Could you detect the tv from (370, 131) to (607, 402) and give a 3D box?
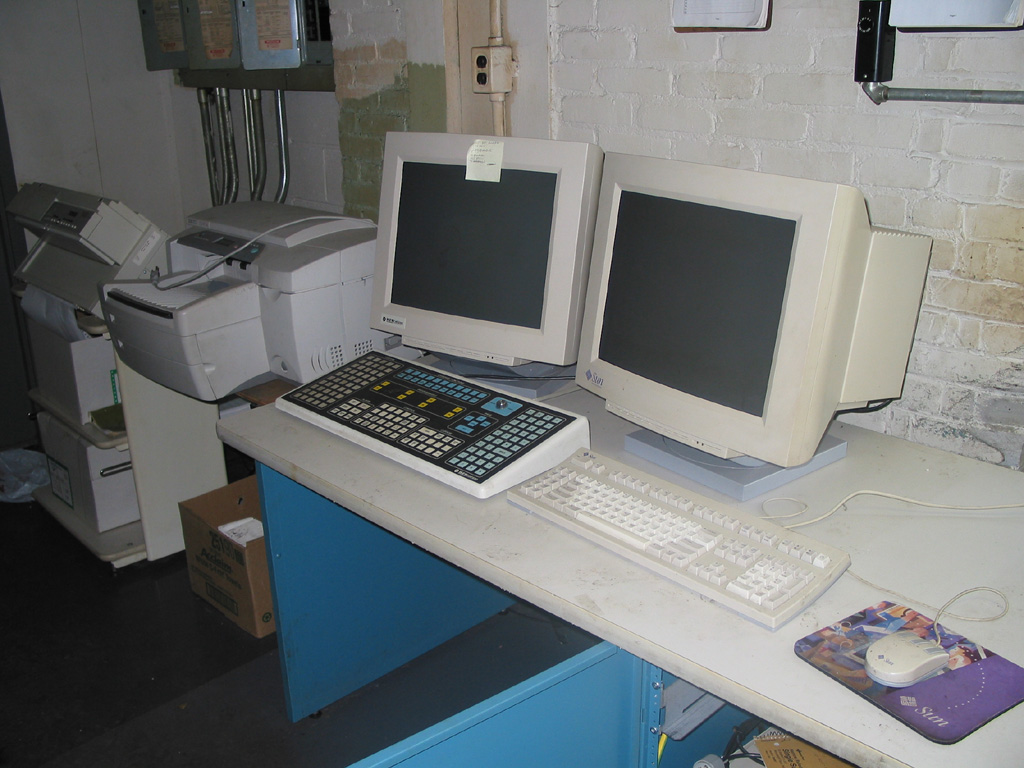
[{"bbox_3d":[-0.043,-0.266,1.799,0.501,0.488,0.276,19,17,29],"label":"tv"}]

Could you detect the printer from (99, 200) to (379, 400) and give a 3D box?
[{"bbox_3d":[-0.674,-0.223,2.140,0.615,0.407,0.604,19,29,34],"label":"printer"}]

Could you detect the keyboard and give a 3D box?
[{"bbox_3d":[0.272,0.257,1.391,0.575,0.067,0.210,19,32,33],"label":"keyboard"}]

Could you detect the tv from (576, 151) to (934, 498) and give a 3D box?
[{"bbox_3d":[0.459,-0.108,1.521,0.514,0.505,0.282,27,34,34],"label":"tv"}]

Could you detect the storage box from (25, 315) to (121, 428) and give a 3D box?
[{"bbox_3d":[-1.504,-0.043,2.706,0.288,0.286,0.158,28,36,33],"label":"storage box"}]

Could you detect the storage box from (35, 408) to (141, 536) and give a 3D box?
[{"bbox_3d":[-1.496,0.315,2.788,0.374,0.255,0.205,26,35,36],"label":"storage box"}]
